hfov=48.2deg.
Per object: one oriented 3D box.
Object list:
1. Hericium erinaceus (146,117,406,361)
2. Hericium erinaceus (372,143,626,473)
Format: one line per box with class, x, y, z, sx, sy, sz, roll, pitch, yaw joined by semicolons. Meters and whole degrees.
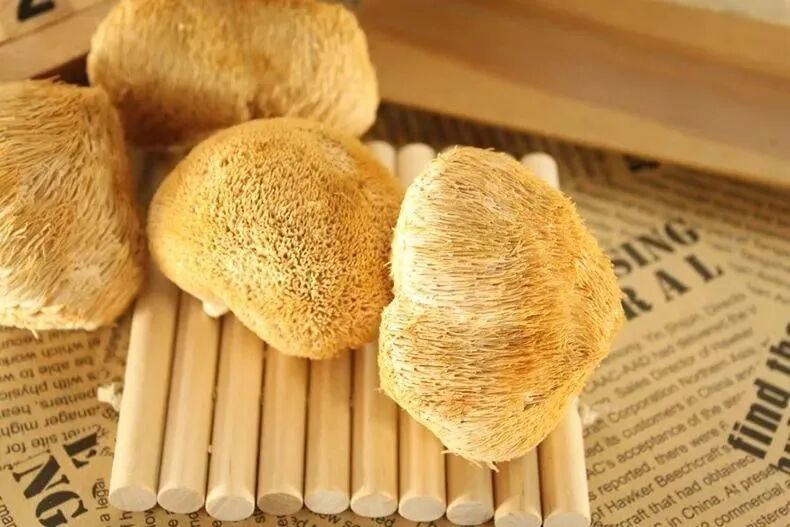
Hericium erinaceus;-0.148;-0.053;1.266;0.365;0.214;0.281;26;51;16
Hericium erinaceus;0.092;0.048;1.268;0.408;0.194;0.392;-9;93;-25
